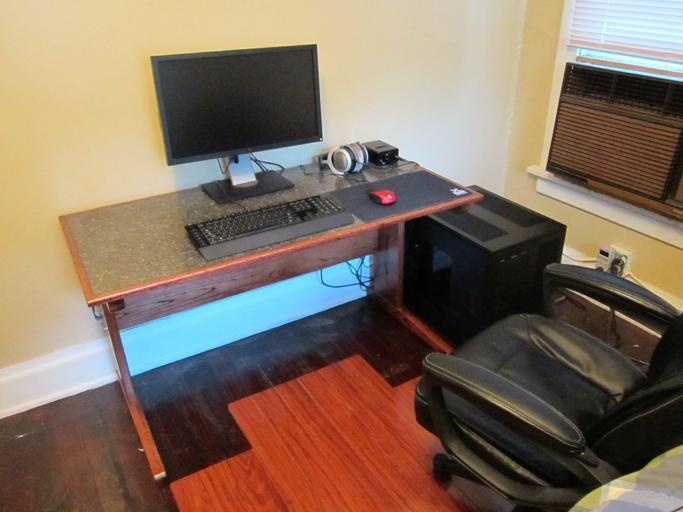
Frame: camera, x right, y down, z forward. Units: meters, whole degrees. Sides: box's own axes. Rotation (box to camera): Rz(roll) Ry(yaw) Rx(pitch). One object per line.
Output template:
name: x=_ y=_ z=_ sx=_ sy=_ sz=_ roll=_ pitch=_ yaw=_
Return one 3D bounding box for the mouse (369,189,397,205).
mouse: x=0.191 y=-0.258 z=2.290 sx=0.125 sy=0.048 sz=0.104 roll=-9 pitch=35 yaw=-5

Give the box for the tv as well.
tv: x=-0.475 y=-0.582 z=2.293 sx=0.645 sy=0.538 sz=0.222 roll=-18 pitch=42 yaw=-27

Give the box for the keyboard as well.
keyboard: x=-0.278 y=-0.127 z=2.127 sx=0.639 sy=0.076 sz=0.236 roll=-18 pitch=37 yaw=-17

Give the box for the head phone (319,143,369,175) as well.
head phone: x=0.009 y=-0.468 z=2.575 sx=0.191 sy=0.099 sz=0.150 roll=6 pitch=29 yaw=37

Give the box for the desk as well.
desk: x=-0.315 y=0.199 z=2.562 sx=1.604 sy=0.990 sz=0.814 roll=-16 pitch=33 yaw=-22
